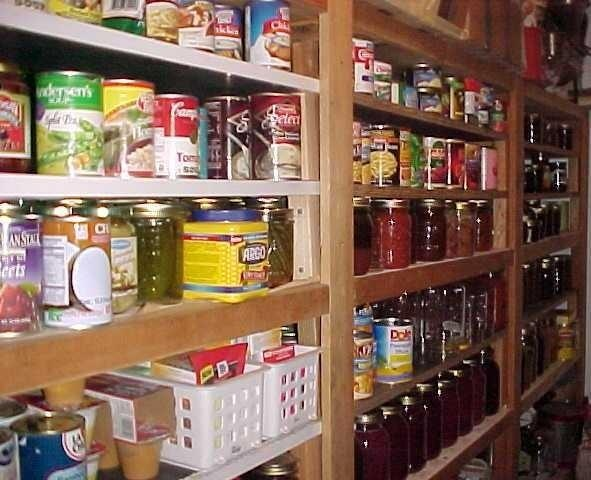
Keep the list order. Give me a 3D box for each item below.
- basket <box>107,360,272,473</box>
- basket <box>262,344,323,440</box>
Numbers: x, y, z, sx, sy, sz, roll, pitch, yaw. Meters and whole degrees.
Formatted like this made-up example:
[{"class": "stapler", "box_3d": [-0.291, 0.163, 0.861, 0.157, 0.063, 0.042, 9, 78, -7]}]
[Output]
[{"class": "basket", "box_3d": [-0.257, 0.390, 1.261, 0.286, 0.135, 0.194, -3, -3, 36]}, {"class": "basket", "box_3d": [-0.043, 0.386, 1.443, 0.163, 0.176, 0.250, 0, -4, 28]}]
